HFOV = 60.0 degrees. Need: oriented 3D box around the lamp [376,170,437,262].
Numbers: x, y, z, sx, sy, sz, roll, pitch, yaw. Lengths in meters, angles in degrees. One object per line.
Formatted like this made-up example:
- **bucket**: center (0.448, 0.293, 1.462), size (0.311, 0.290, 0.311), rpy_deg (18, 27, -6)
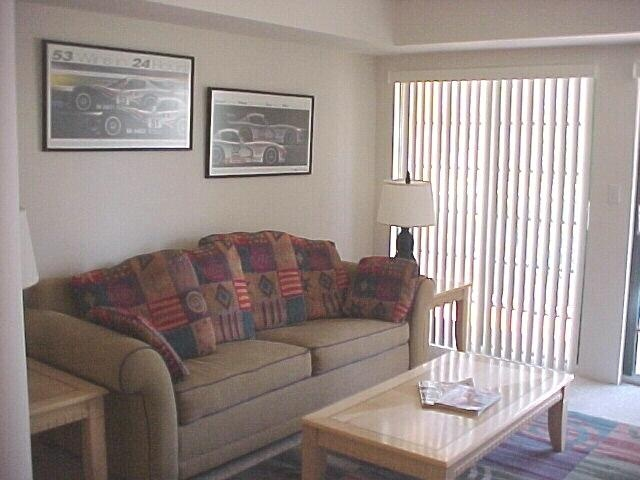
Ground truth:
- **lamp**: center (0.698, -0.165, 4.535), size (0.472, 0.774, 0.484), rpy_deg (12, 17, 39)
